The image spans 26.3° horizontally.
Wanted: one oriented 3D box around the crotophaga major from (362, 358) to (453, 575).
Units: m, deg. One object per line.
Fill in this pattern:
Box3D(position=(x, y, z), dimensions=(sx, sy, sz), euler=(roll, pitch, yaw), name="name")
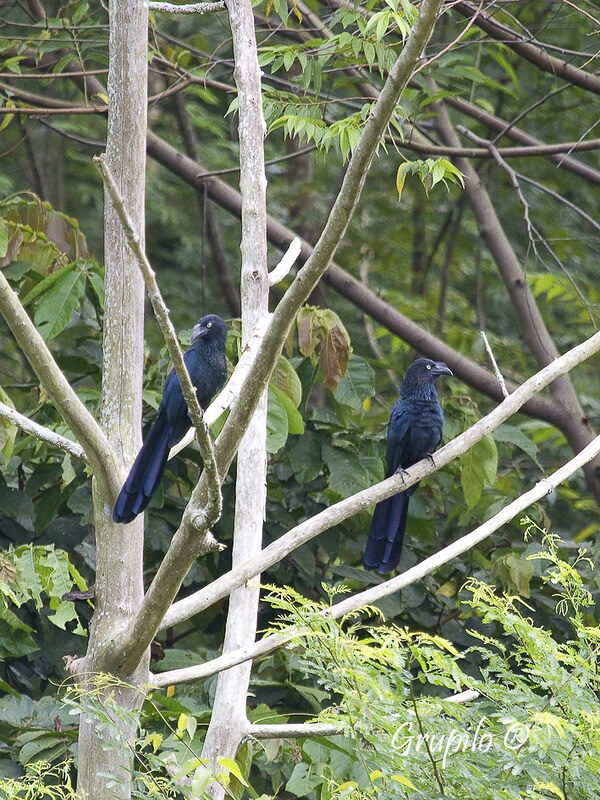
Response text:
Box3D(position=(0.430, 0.314, 5.315), dimensions=(0.241, 0.708, 0.879), euler=(13, 6, 6), name="crotophaga major")
